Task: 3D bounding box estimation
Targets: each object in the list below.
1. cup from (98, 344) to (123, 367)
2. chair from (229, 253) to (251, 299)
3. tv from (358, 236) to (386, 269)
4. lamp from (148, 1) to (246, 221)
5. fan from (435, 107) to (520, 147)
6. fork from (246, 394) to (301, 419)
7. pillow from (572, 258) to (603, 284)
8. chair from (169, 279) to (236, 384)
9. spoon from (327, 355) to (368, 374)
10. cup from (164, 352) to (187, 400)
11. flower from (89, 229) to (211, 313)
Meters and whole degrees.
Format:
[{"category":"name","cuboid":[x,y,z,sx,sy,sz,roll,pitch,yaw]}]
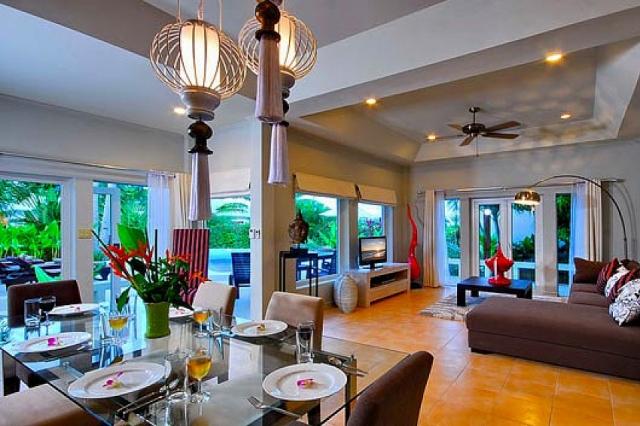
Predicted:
[{"category":"cup","cuboid":[-1.589,1.077,3.114,0.128,0.120,0.221,8,-4,-16]},{"category":"chair","cuboid":[-1.412,1.073,7.259,0.285,0.832,0.296,-4,14,-18]},{"category":"tv","cuboid":[0.968,0.751,7.862,0.159,0.428,0.623,-4,-4,41]},{"category":"lamp","cuboid":[-0.951,-0.876,3.277,0.688,1.829,1.491,-5,14,-19]},{"category":"fan","cuboid":[2.698,-1.335,6.696,0.946,0.330,0.933,-4,6,-33]},{"category":"fork","cuboid":[-0.299,1.265,2.681,0.310,0.043,0.051,12,13,14]},{"category":"pillow","cuboid":[4.381,0.955,6.732,0.402,0.267,0.137,-1,13,4]},{"category":"chair","cuboid":[-0.992,0.958,3.751,0.571,0.896,0.586,-1,-5,33]},{"category":"spoon","cuboid":[0.185,1.120,3.018,0.357,0.051,0.093,12,6,43]},{"category":"cup","cuboid":[-0.932,1.055,2.676,0.146,0.294,0.103,-5,14,-20]},{"category":"flower","cuboid":[-1.811,0.611,4.321,0.972,0.650,1.047,8,-1,-39]}]
